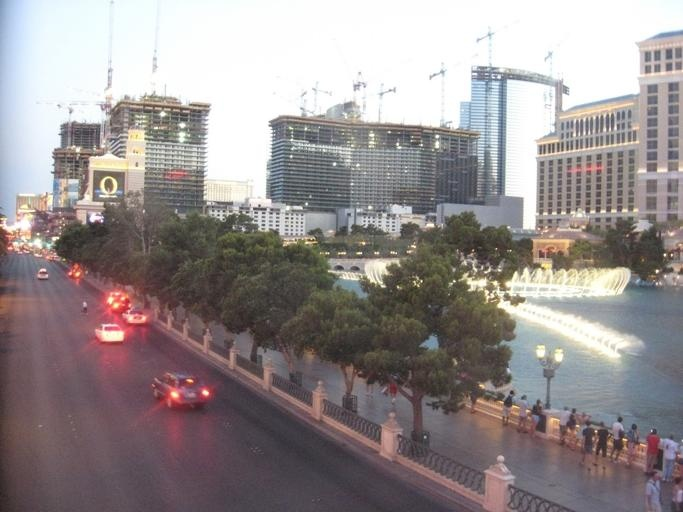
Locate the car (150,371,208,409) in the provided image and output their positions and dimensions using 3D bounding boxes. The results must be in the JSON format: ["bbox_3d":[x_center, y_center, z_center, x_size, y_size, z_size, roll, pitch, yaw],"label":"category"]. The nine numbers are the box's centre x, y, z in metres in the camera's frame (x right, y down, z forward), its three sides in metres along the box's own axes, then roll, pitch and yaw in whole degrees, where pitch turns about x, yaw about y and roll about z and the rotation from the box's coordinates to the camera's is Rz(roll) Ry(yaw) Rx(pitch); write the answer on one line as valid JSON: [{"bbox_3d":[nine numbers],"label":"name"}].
[{"bbox_3d":[-10.911,9.054,59.256,3.781,2.141,1.644,3,3,27],"label":"car"}]
